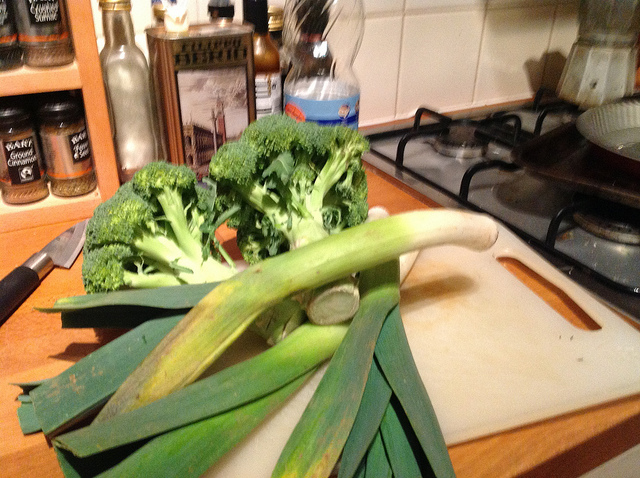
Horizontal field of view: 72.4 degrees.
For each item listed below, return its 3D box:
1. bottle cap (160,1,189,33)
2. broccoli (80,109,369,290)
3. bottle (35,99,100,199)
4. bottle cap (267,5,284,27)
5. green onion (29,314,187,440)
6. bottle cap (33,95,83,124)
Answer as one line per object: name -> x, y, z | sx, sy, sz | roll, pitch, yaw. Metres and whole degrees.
bottle cap -> -0.276, -0.426, 0.846 | 0.051, 0.065, 0.058 | -1, 29, -4
broccoli -> -0.144, -0.055, 0.751 | 0.447, 0.296, 0.203 | -22, 68, -26
bottle -> -0.525, -0.188, 0.906 | 0.131, 0.193, 0.140 | 3, 23, -1
bottle cap -> -0.100, -0.493, 0.982 | 0.047, 0.036, 0.050 | -8, 25, -14
green onion -> -0.251, 0.152, 0.605 | 0.293, 0.034, 0.093 | -37, 47, -23
bottle cap -> -0.506, -0.251, 0.846 | 0.083, 0.050, 0.051 | -15, 26, -28
